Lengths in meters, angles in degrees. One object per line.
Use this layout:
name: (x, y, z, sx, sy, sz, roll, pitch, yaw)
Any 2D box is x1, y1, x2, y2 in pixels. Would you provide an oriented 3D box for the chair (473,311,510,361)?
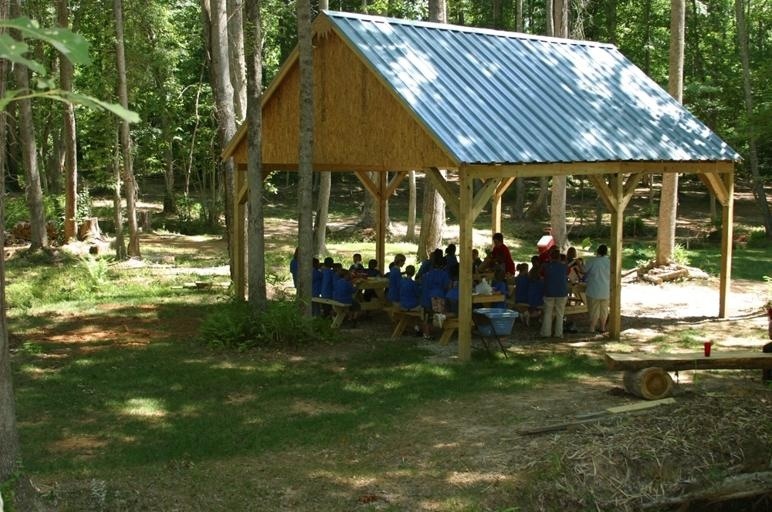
chair: (2.696, 1.836, 22.320, 0.966, 0.925, 1.277, -9, 10, -13)

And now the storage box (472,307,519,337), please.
storage box: (2.696, 1.590, 22.175, 0.723, 0.490, 0.962, -1, 4, -16)
